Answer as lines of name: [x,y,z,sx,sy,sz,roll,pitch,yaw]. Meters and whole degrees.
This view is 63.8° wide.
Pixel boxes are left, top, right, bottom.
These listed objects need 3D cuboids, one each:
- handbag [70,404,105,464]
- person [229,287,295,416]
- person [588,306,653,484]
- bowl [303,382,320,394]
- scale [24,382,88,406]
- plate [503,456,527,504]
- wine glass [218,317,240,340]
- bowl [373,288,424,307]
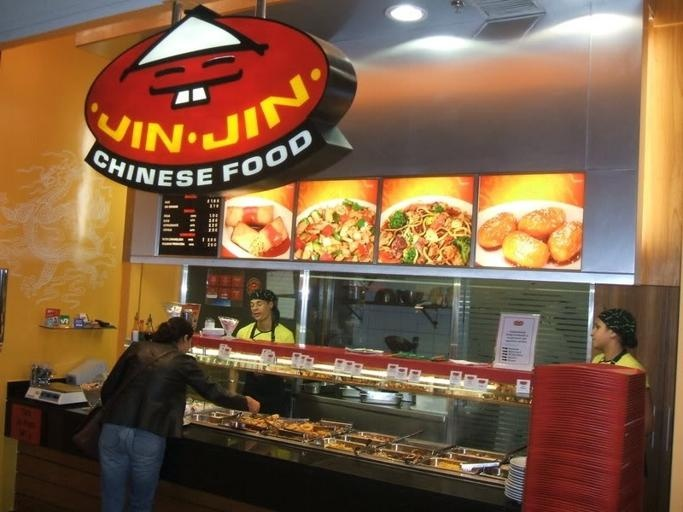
handbag: [-1.867,1.241,4.049,0.208,0.275,0.108,-24,-52,11]
person: [-0.743,1.040,4.904,0.521,1.442,0.534,-1,-10,15]
person: [1.738,0.799,3.436,0.390,1.320,0.449,-1,-5,31]
bowl: [-0.256,1.107,4.635,0.115,0.042,0.097,1,-2,35]
scale: [-2.508,1.224,4.841,0.486,0.122,0.338,-2,-4,38]
plate: [0.961,1.230,3.056,0.114,0.241,0.299,-1,-4,16]
wine glass: [-1.010,0.639,4.885,0.191,0.157,0.205,1,-8,8]
bowl: [0.456,0.330,4.468,0.269,0.096,0.158,1,-1,6]
